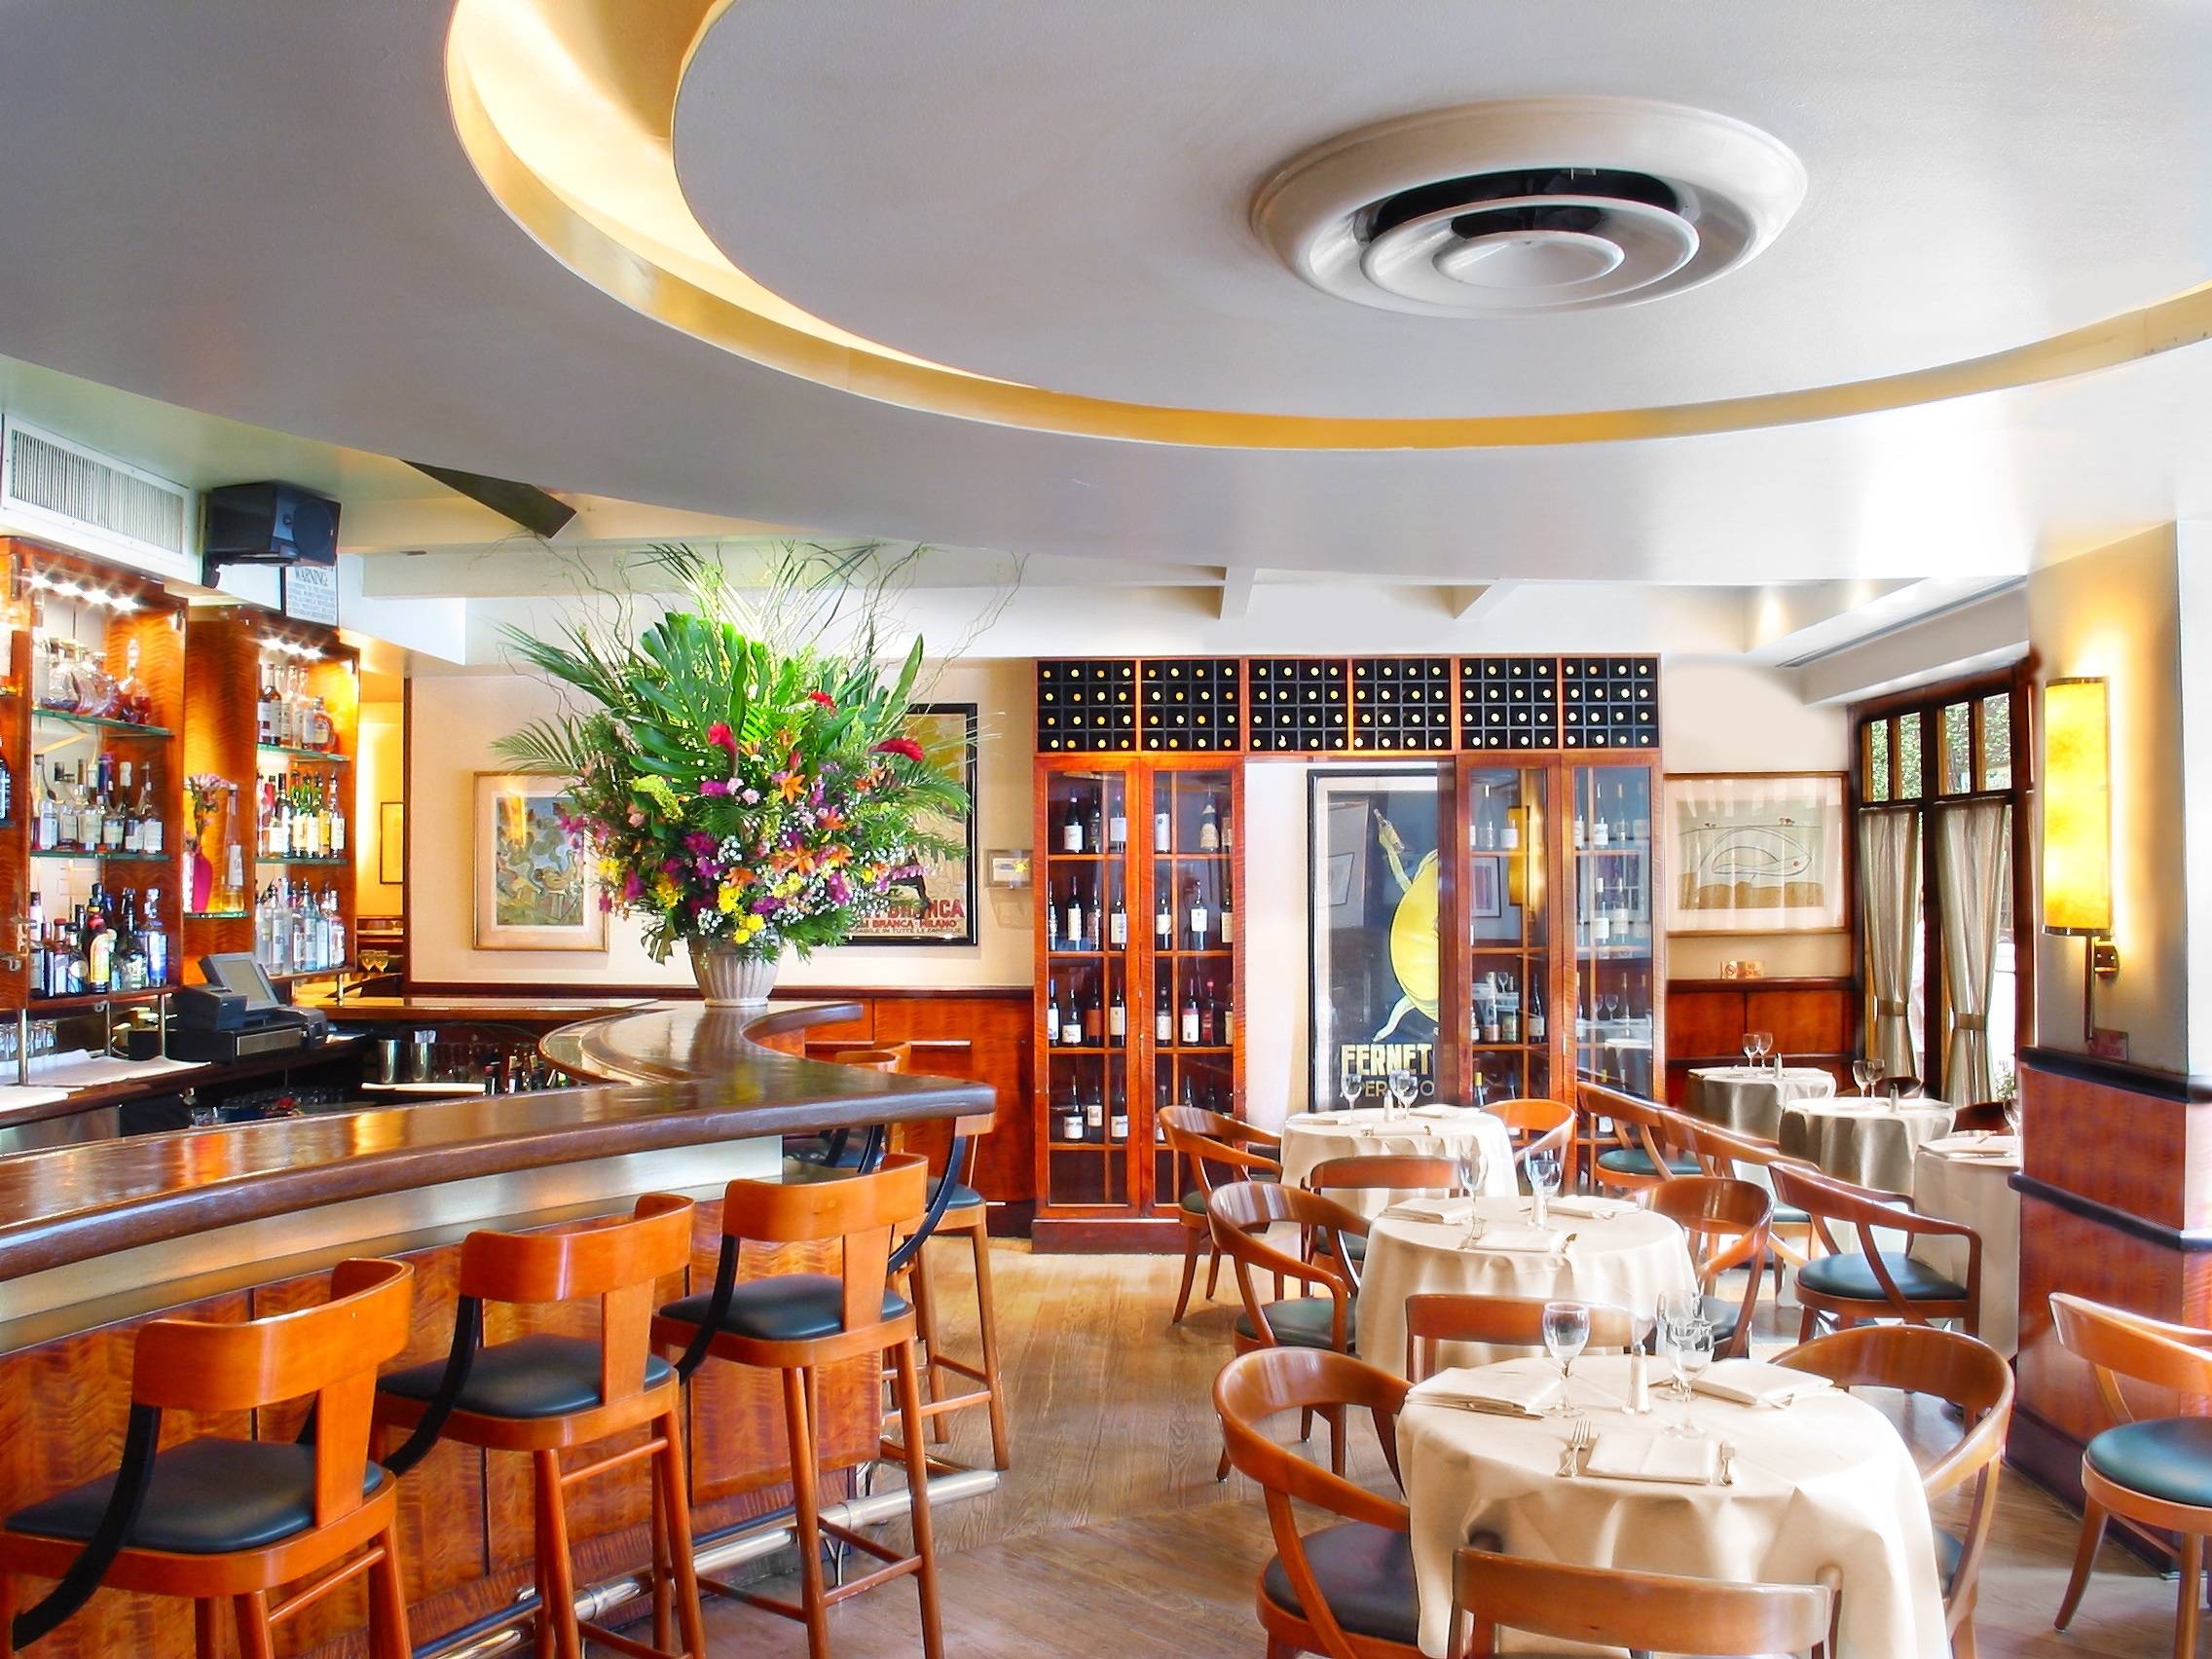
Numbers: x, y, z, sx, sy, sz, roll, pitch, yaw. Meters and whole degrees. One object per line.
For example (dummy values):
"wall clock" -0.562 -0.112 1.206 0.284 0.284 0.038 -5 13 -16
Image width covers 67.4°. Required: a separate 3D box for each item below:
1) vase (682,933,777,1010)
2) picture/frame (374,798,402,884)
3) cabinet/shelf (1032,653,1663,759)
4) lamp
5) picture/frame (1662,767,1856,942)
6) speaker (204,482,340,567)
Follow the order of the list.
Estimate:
"vase" -1.322 0.497 5.755 0.256 0.204 0.260 1 -1 39
"picture/frame" -4.637 0.093 10.621 0.206 0.503 0.113 -1 -5 18
"cabinet/shelf" 1.314 -0.665 9.101 3.389 0.591 0.149 1 -5 2
"lamp" 3.270 0.125 5.551 0.161 1.228 0.305 1 -5 -1
"picture/frame" 4.022 0.145 10.021 0.959 0.871 0.040 0 -3 3
"speaker" -3.453 -1.222 6.799 0.298 0.287 0.429 5 0 11
